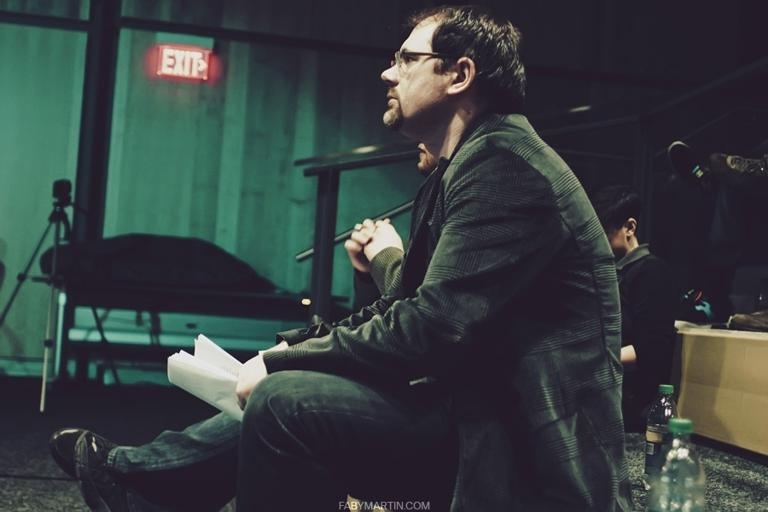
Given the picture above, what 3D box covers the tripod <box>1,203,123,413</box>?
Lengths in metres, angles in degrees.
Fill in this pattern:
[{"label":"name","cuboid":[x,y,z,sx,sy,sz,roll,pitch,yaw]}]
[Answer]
[{"label":"tripod","cuboid":[-2.404,0.451,5.666,0.900,1.589,1.063,14,-16,-35]}]
